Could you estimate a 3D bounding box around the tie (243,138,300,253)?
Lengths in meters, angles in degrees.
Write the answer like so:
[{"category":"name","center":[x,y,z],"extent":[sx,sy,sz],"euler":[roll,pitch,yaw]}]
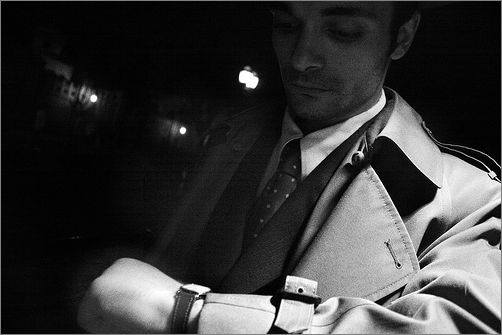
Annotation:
[{"category":"tie","center":[0.073,0.109,1.625],"extent":[0.111,0.407,0.093],"euler":[33,-14,-28]}]
